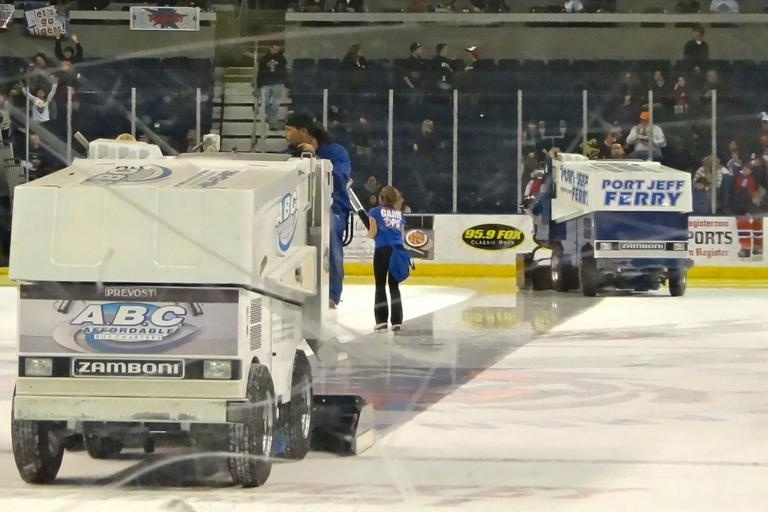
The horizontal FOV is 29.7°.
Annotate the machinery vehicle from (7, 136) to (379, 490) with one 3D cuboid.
[{"bbox_3d":[-2.134,0.446,16.849,3.320,3.413,4.676,3,5,6],"label":"machinery vehicle"}]

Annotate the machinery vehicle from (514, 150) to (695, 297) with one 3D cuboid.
[{"bbox_3d":[3.763,-0.458,24.895,1.997,1.719,3.159,2,-3,-13],"label":"machinery vehicle"}]

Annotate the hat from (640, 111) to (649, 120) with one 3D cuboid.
[{"bbox_3d":[5.084,-2.689,27.849,0.176,0.176,0.140,3,15,10],"label":"hat"}]

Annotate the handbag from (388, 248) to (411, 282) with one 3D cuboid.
[{"bbox_3d":[0.245,0.134,20.201,0.360,0.425,0.222,-11,-12,-10],"label":"handbag"}]
